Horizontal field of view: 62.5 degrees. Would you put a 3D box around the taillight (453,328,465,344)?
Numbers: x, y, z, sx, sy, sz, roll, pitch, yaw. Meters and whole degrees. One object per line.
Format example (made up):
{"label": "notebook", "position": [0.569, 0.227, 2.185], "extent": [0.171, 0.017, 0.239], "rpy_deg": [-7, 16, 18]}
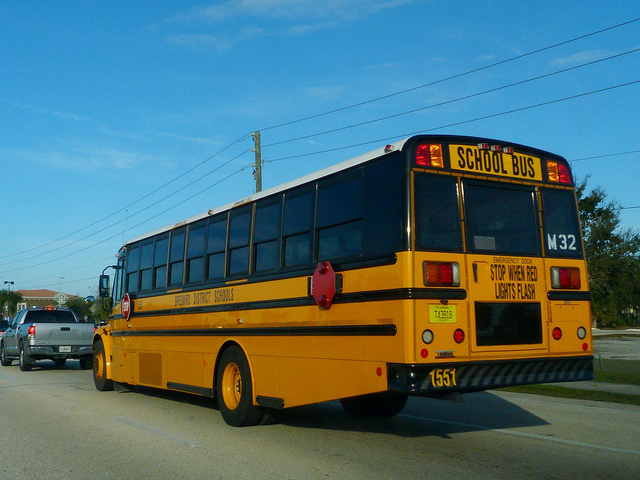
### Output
{"label": "taillight", "position": [1.717, 1.193, 6.515], "extent": [0.172, 0.190, 0.026], "rpy_deg": [5, -11, -31]}

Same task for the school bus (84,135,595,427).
{"label": "school bus", "position": [-1.368, 1.373, 10.992], "extent": [3.103, 4.155, 12.201], "rpy_deg": [8, -13, -43]}

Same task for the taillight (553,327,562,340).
{"label": "taillight", "position": [3.257, 1.305, 7.339], "extent": [0.155, 0.156, 0.148], "rpy_deg": [5, 1, -13]}

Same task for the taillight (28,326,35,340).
{"label": "taillight", "position": [-10.461, 3.390, 19.141], "extent": [0.285, 0.470, 0.072], "rpy_deg": [-3, -9, 17]}

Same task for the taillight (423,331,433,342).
{"label": "taillight", "position": [1.290, 1.162, 6.309], "extent": [0.126, 0.125, 0.024], "rpy_deg": [6, -11, -34]}

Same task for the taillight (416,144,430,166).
{"label": "taillight", "position": [1.330, -1.089, 6.806], "extent": [0.205, 0.301, 0.009], "rpy_deg": [4, -10, -24]}

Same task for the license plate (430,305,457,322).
{"label": "license plate", "position": [1.514, 0.904, 6.451], "extent": [0.415, 0.207, 0.049], "rpy_deg": [6, -11, -33]}
